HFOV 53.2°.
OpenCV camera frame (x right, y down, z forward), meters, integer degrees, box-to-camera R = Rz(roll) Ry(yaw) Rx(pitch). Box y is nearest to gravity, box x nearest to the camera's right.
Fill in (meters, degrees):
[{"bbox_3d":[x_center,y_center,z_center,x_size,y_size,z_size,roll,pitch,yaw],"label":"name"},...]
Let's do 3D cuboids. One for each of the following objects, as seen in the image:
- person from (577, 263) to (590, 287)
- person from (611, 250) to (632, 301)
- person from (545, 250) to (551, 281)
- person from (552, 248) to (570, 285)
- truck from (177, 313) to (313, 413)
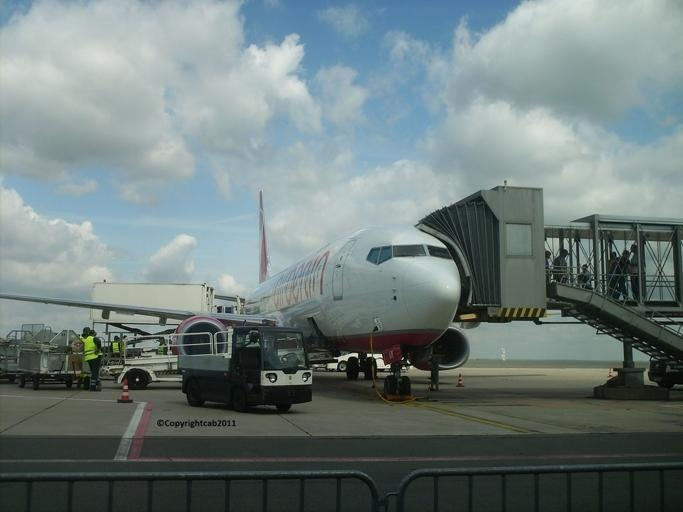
[{"bbox_3d":[7.970,0.674,22.351,0.411,0.780,0.693,-2,-7,20],"label":"person"},{"bbox_3d":[9.483,0.668,23.146,0.632,1.716,0.359,-2,-6,17],"label":"person"},{"bbox_3d":[6.799,0.352,22.418,0.160,1.009,0.528,-2,-7,19],"label":"person"},{"bbox_3d":[7.244,0.314,22.533,0.542,1.166,0.463,-2,-7,19],"label":"person"},{"bbox_3d":[-2.679,2.908,17.782,1.898,2.155,4.014,4,-9,-40],"label":"truck"}]
